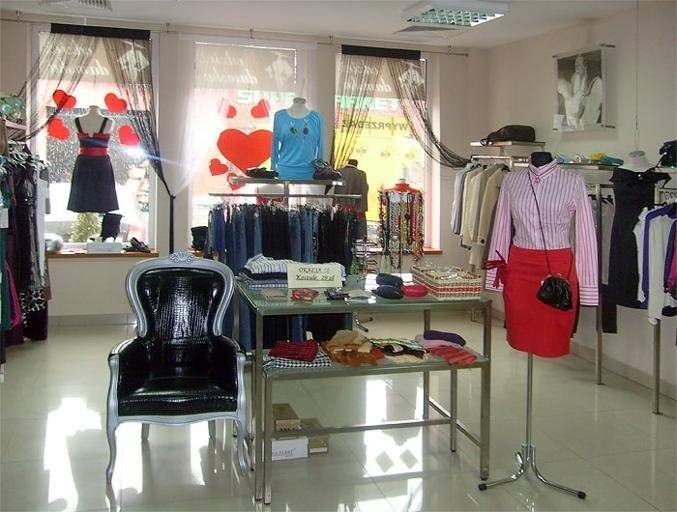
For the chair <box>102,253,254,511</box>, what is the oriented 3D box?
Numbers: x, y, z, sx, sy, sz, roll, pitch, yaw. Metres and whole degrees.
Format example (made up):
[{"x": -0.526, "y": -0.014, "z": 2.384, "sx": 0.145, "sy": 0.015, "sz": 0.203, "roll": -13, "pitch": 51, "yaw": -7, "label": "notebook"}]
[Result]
[{"x": -0.926, "y": 0.642, "z": 3.135, "sx": 0.744, "sy": 1.248, "sz": 0.593, "roll": -1, "pitch": 9, "yaw": -14, "label": "chair"}]

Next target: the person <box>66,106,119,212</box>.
[{"x": -2.768, "y": -1.086, "z": 6.049, "sx": 0.522, "sy": 1.178, "sz": 0.247, "roll": -2, "pitch": 9, "yaw": -19, "label": "person"}]

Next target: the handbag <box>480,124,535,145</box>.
[{"x": 1.953, "y": -1.375, "z": 6.113, "sx": 0.475, "sy": 0.186, "sz": 0.286, "roll": -1, "pitch": 7, "yaw": -2, "label": "handbag"}]

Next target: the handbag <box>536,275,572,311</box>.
[{"x": 1.236, "y": 0.206, "z": 3.007, "sx": 0.074, "sy": 0.169, "sz": 0.167, "roll": -10, "pitch": 9, "yaw": -29, "label": "handbag"}]

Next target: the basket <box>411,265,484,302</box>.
[{"x": 0.637, "y": 0.145, "z": 3.354, "sx": 0.194, "sy": 0.107, "sz": 0.339, "roll": 0, "pitch": 9, "yaw": -8, "label": "basket"}]

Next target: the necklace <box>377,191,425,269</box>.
[{"x": 0.687, "y": -0.319, "z": 5.877, "sx": 0.467, "sy": 0.811, "sz": 0.539, "roll": 2, "pitch": 9, "yaw": 7, "label": "necklace"}]

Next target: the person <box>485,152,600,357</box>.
[{"x": 1.206, "y": 0.000, "z": 3.183, "sx": 0.619, "sy": 1.214, "sz": 0.203, "roll": 5, "pitch": 9, "yaw": 29, "label": "person"}]

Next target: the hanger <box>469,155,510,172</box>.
[{"x": 1.701, "y": -1.047, "z": 6.062, "sx": 0.193, "sy": 0.279, "sz": 0.460, "roll": -13, "pitch": 21, "yaw": -38, "label": "hanger"}]

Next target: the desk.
[{"x": 0.131, "y": 0.598, "z": 3.546, "sx": 1.795, "sy": 1.407, "sz": 1.112, "roll": -1, "pitch": 8, "yaw": -12, "label": "desk"}]

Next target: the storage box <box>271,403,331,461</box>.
[{"x": -0.258, "y": 1.150, "z": 3.495, "sx": 0.311, "sy": 0.208, "sz": 0.325, "roll": 1, "pitch": 3, "yaw": -13, "label": "storage box"}]

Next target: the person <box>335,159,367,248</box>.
[{"x": 0.173, "y": -0.756, "z": 6.773, "sx": 0.414, "sy": 1.086, "sz": 0.275, "roll": 1, "pitch": 32, "yaw": 5, "label": "person"}]

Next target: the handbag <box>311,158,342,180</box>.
[{"x": -0.134, "y": -0.765, "z": 4.713, "sx": 0.153, "sy": 0.113, "sz": 0.276, "roll": -7, "pitch": 12, "yaw": -34, "label": "handbag"}]

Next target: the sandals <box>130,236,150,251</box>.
[{"x": -2.322, "y": -0.140, "z": 6.287, "sx": 0.141, "sy": 0.066, "sz": 0.190, "roll": 4, "pitch": 16, "yaw": -43, "label": "sandals"}]
